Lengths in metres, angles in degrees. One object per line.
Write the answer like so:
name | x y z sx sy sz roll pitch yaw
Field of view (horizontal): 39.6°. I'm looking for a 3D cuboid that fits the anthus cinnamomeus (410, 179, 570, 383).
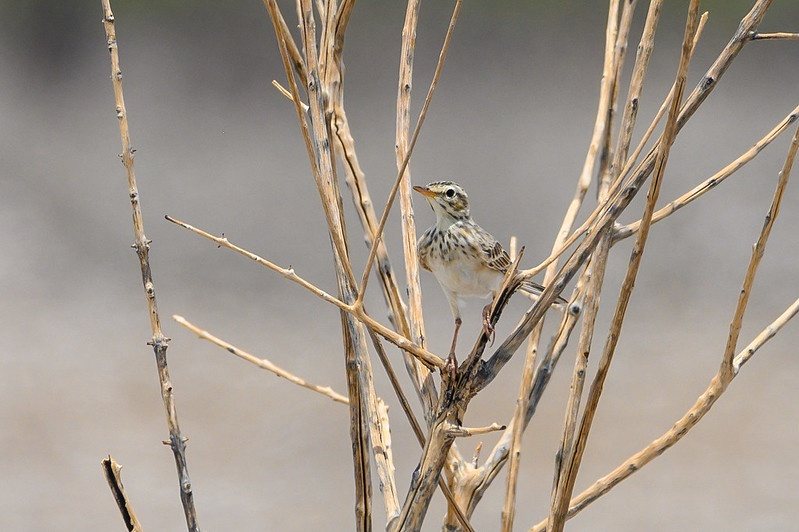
anthus cinnamomeus | 0.469 0.054 5.105 1.122 0.793 0.361 6 -5 -44
